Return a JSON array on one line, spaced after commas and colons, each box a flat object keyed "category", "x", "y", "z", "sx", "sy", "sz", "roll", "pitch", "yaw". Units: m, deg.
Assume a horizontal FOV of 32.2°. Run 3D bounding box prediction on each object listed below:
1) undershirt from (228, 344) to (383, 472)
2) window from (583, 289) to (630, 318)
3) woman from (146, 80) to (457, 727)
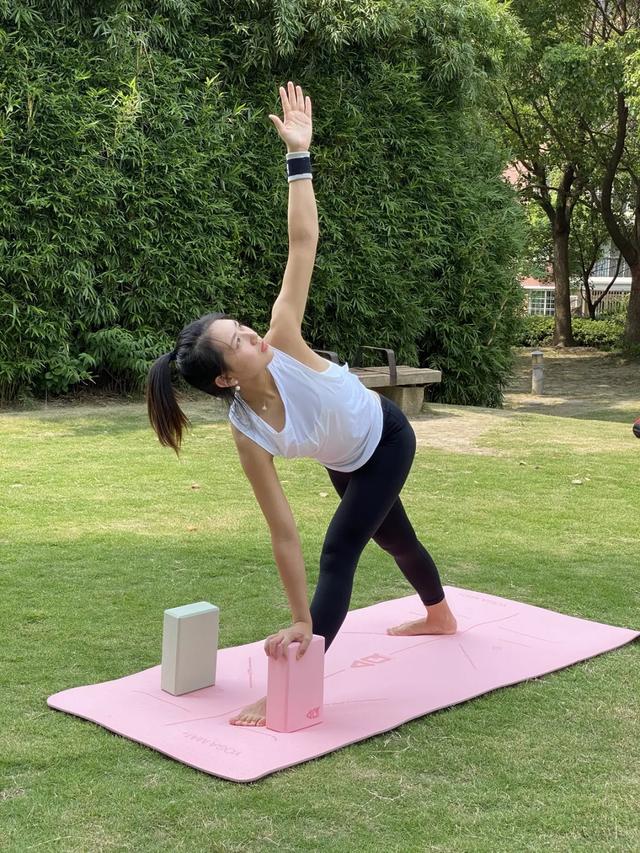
[{"category": "undershirt", "x": -0.013, "y": -0.036, "z": 3.203, "sx": 0.228, "sy": 0.372, "sz": 0.541, "roll": 10, "pitch": 12, "yaw": 38}, {"category": "window", "x": 8.754, "y": -3.674, "z": 33.313, "sx": 1.757, "sy": 0.729, "sz": 2.459, "roll": 2, "pitch": 9, "yaw": 11}, {"category": "woman", "x": -0.018, "y": -0.103, "z": 3.349, "sx": 0.548, "sy": 1.842, "sz": 0.922, "roll": 8, "pitch": 11, "yaw": 29}]
